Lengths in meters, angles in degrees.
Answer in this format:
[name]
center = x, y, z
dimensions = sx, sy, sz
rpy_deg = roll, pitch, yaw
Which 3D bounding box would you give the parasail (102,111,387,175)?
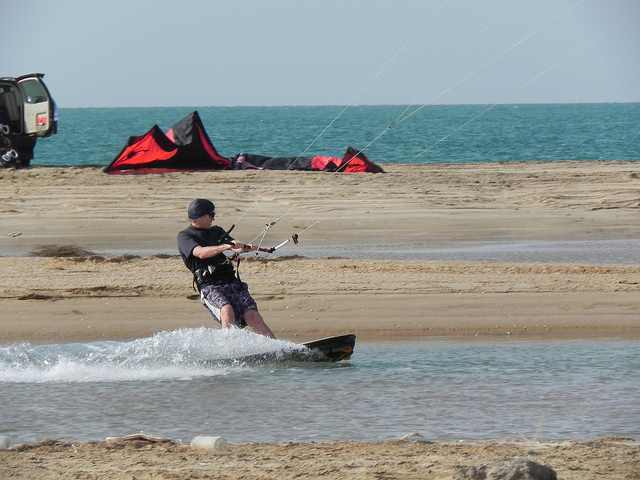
[parasail]
center = -2.912, -3.161, 38.882
dimensions = 7.545, 1.863, 3.339
rpy_deg = -1, 7, -3

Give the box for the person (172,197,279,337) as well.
[person]
center = -1.345, 0.392, 16.971
dimensions = 1.004, 1.915, 0.671
rpy_deg = 5, 11, 33
